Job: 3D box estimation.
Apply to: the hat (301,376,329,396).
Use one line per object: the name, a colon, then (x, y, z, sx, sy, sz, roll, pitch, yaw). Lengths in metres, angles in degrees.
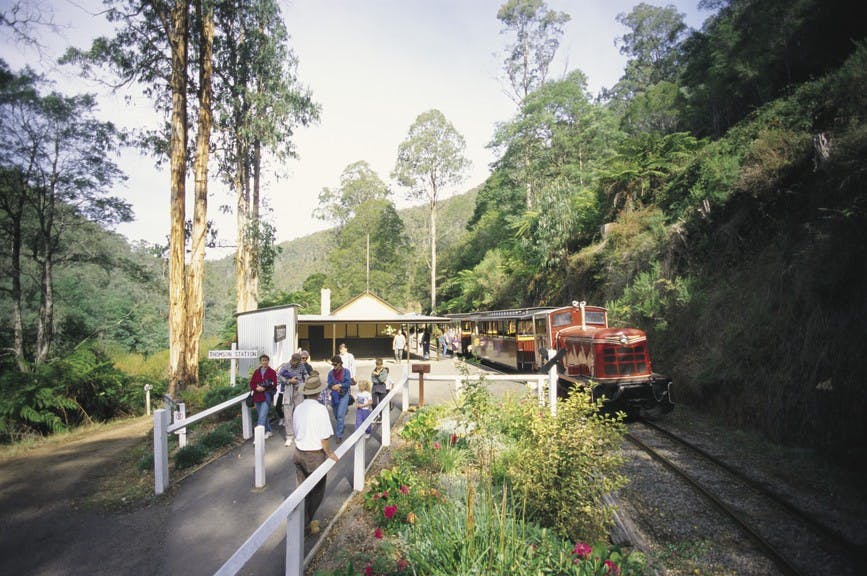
hat: (-3.366, 2.770, 16.893, 0.669, 0.274, 0.732, -7, 4, -7)
